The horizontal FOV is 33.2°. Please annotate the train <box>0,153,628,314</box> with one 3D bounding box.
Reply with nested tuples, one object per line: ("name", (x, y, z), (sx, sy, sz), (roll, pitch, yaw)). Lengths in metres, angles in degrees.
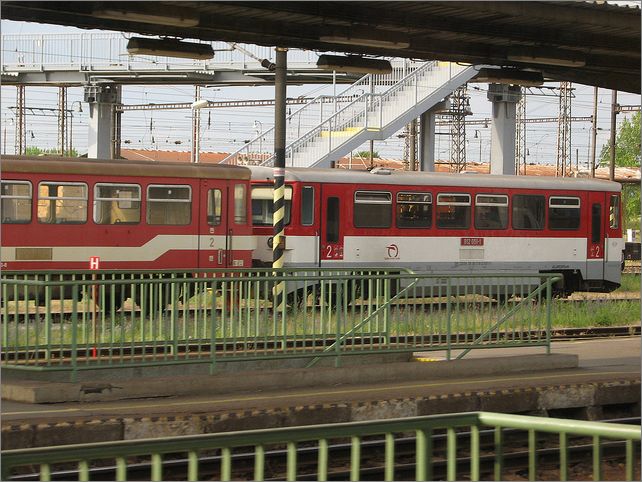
("train", (0.049, -0.318, 27.012), (15.562, 3.643, 1.769), (-1, 1, -15))
